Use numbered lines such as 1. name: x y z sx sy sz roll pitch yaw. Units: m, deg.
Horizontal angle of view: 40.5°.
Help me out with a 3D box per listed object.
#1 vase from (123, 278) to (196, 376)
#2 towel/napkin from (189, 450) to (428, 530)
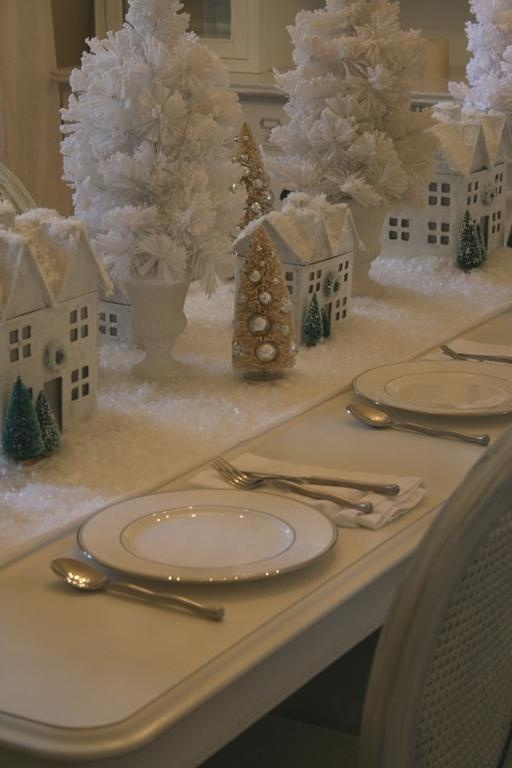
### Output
1. vase: -0.147 -0.089 1.021 0.127 0.158 0.114 -3 17 -11
2. towel/napkin: 0.047 0.082 0.639 0.135 0.019 0.084 5 12 27
